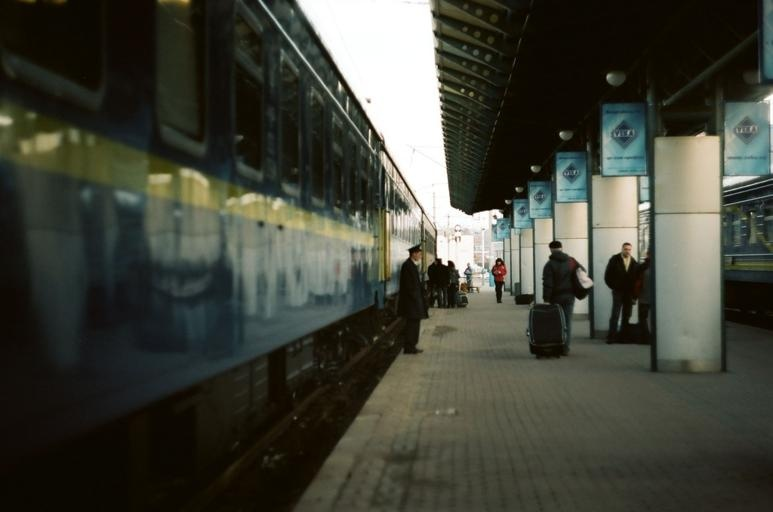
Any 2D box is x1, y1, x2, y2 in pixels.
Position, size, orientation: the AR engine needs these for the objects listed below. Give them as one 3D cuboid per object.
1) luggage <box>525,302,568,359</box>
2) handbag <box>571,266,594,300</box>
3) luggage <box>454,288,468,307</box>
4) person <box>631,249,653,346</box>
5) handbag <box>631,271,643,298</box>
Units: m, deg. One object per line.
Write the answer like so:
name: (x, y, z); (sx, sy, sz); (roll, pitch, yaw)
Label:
luggage: (3.028, 1.531, 12.702); (0.802, 0.750, 1.223); (5, 33, 5)
handbag: (3.679, 0.506, 12.748); (0.350, 0.578, 0.331); (1, 0, -45)
luggage: (3.101, 1.761, 28.047); (0.427, 0.748, 0.696); (0, 10, -2)
person: (5.181, 0.858, 13.771); (0.253, 1.775, 0.800); (1, 0, 20)
handbag: (5.052, 0.557, 13.686); (0.257, 0.551, 0.219); (1, 0, 31)
